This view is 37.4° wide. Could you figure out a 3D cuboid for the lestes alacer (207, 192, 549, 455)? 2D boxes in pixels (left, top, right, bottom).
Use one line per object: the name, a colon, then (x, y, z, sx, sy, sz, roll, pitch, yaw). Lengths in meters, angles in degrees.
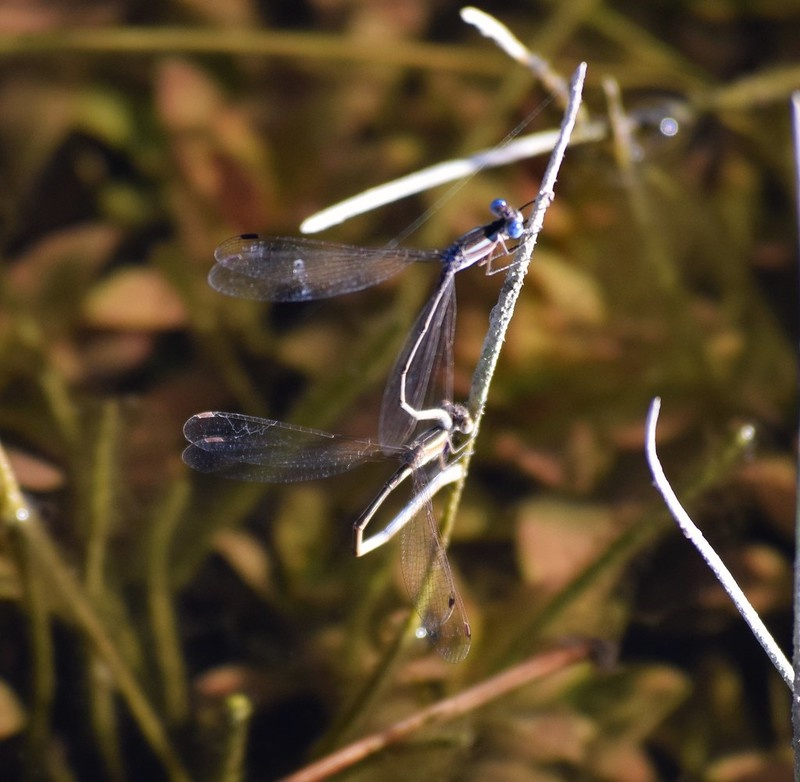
lestes alacer: (-0.013, -0.023, 0.664, 0.152, 0.062, 0.138, -45, 56, 17)
